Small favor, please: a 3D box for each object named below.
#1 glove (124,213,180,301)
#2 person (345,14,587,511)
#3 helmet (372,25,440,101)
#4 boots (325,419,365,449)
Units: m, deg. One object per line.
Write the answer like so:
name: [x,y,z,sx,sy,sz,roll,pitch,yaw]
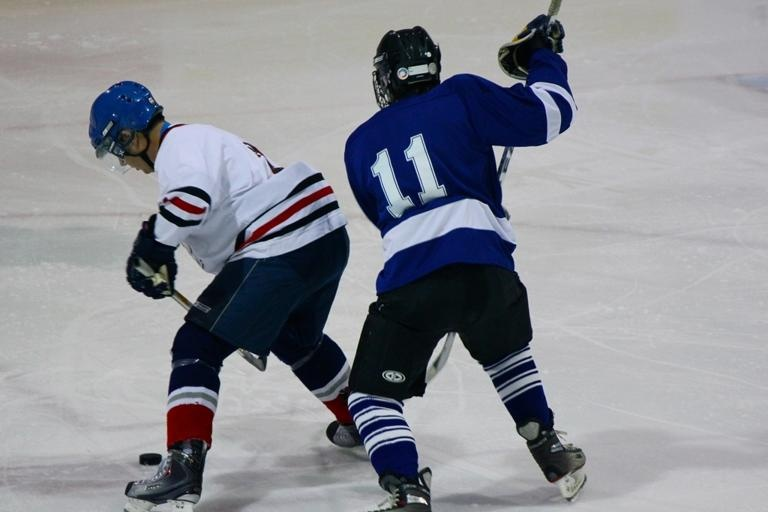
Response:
glove: [-1.137,0.008,5.266,0.295,0.401,0.170,4,12,5]
person: [0.386,0.024,5.095,1.167,2.256,0.949,-3,15,-6]
helmet: [0.048,-0.933,5.204,0.318,0.338,0.379,-9,18,-8]
boots: [-0.205,0.925,5.720,0.204,0.118,0.121,17,16,25]
